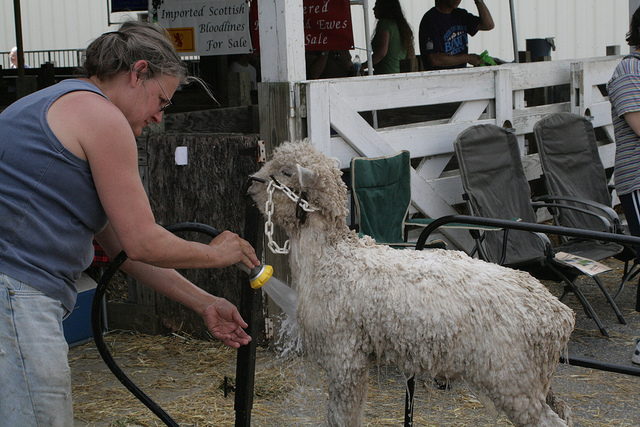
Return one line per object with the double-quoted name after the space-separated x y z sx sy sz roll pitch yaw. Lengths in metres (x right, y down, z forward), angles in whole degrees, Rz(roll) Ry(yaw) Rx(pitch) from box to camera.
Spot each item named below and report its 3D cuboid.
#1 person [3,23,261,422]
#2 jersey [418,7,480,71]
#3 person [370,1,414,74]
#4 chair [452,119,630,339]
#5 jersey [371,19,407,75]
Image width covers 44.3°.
-1.148 0.023 4.489 1.270 2.169 0.572 -2 6 -10 "person"
1.662 -2.201 9.946 0.412 0.788 0.934 5 9 44 "jersey"
0.880 -2.204 9.940 0.463 0.866 0.608 1 7 18 "person"
1.923 0.063 7.059 1.065 1.754 1.569 -10 10 -26 "chair"
0.884 -2.103 9.956 0.440 0.666 0.514 -1 6 6 "jersey"
